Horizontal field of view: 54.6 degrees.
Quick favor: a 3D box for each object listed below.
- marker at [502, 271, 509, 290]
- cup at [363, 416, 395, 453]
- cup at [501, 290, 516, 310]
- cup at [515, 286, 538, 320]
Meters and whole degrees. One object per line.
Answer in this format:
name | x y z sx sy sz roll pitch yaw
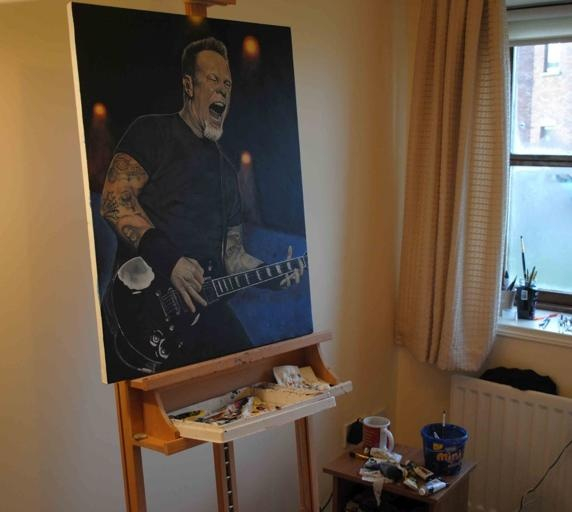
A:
marker | 0.961 0.100 2.422 0.026 0.070 0.135 3 11 22
cup | 0.359 0.686 2.088 0.087 0.115 0.141 -4 9 -26
cup | 0.926 0.184 2.320 0.056 0.076 0.070 1 -3 0
cup | 1.005 0.190 2.325 0.082 0.139 0.080 -1 9 0
